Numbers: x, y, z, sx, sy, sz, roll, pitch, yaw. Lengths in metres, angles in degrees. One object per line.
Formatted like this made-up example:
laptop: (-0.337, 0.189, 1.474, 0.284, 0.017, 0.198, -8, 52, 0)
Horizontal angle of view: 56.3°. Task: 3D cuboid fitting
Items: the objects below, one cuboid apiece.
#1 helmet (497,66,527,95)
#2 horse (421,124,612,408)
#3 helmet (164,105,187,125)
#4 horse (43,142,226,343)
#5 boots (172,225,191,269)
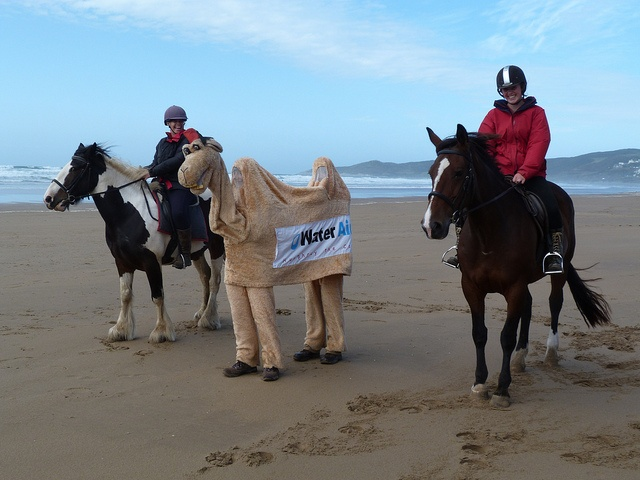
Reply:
helmet: (2.147, -1.838, 6.792, 0.299, 0.354, 0.406, -5, 23, 24)
horse: (2.013, 0.177, 6.496, 0.895, 2.747, 2.681, 3, 8, 37)
helmet: (-2.031, -1.734, 8.318, 0.280, 0.223, 0.234, -2, 6, -7)
horse: (-2.322, 0.114, 8.485, 0.970, 2.506, 3.337, -7, -6, 33)
boots: (-1.923, 0.060, 8.270, 0.407, 0.633, 0.206, 6, 34, -11)
